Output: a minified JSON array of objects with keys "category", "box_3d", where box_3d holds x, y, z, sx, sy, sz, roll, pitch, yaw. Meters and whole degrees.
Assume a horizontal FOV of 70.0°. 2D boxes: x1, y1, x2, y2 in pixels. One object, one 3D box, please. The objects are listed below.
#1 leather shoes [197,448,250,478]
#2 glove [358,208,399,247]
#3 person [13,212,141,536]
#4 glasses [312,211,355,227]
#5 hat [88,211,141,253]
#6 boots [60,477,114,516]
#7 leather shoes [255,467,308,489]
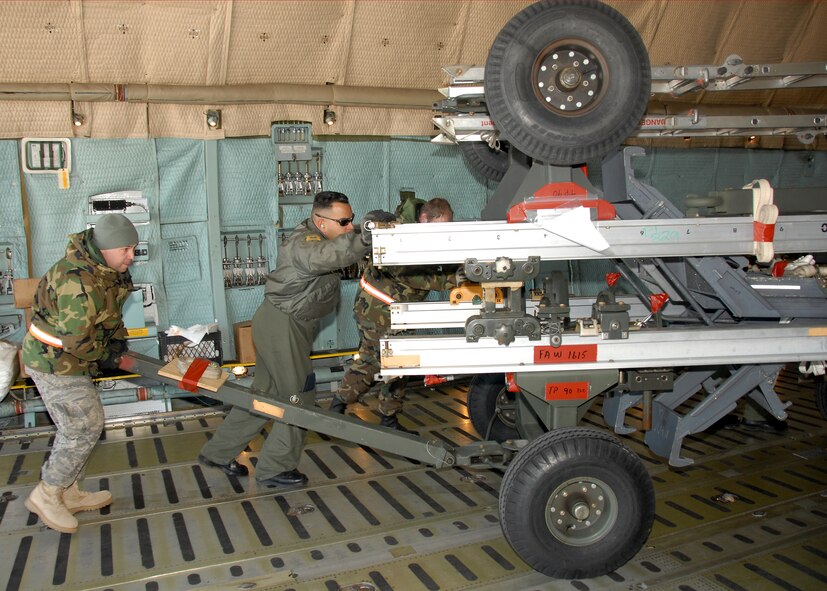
[{"category":"leather shoes","box_3d":[-1.935,1.668,5.920,0.580,0.199,0.194,13,8,1]},{"category":"glove","box_3d":[-0.244,-0.462,4.184,0.244,0.256,0.361,-3,14,-6]},{"category":"person","box_3d":[-2.794,0.649,4.930,1.119,2.591,0.580,-9,17,-28]},{"category":"glasses","box_3d":[-0.713,-0.678,5.299,0.338,0.131,0.137,-4,14,-14]},{"category":"hat","box_3d":[-2.425,-0.518,4.855,0.362,0.246,0.343,9,15,33]},{"category":"boots","box_3d":[-2.898,1.766,5.350,0.516,0.315,0.168,-6,20,-23]},{"category":"leather shoes","box_3d":[-1.211,1.733,5.614,0.549,0.183,0.165,-5,14,-7]}]
